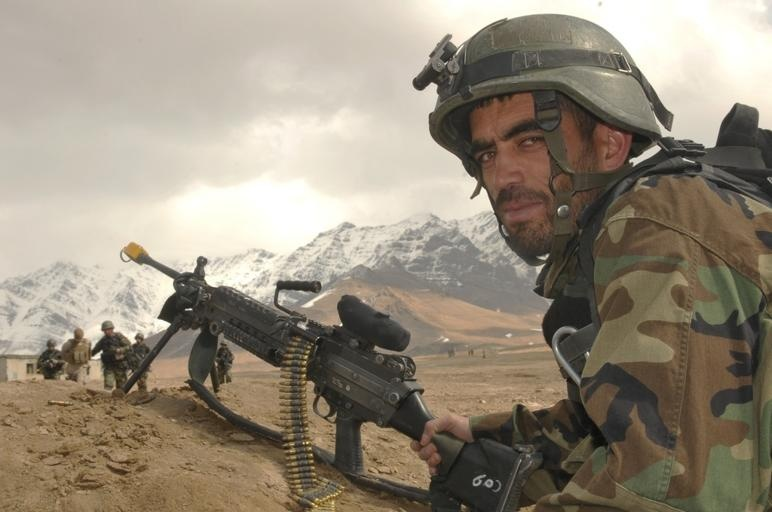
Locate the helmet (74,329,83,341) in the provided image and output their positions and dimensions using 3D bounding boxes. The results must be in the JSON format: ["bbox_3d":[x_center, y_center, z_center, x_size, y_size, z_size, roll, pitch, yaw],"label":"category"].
[{"bbox_3d":[-6.674,1.683,18.211,0.197,0.265,0.255,5,23,-16],"label":"helmet"}]

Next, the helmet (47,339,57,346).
[{"bbox_3d":[-8.177,2.140,20.507,0.212,0.197,0.230,0,-12,-12],"label":"helmet"}]

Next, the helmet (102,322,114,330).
[{"bbox_3d":[-6.123,1.537,18.368,0.251,0.195,0.286,-1,1,-7],"label":"helmet"}]
